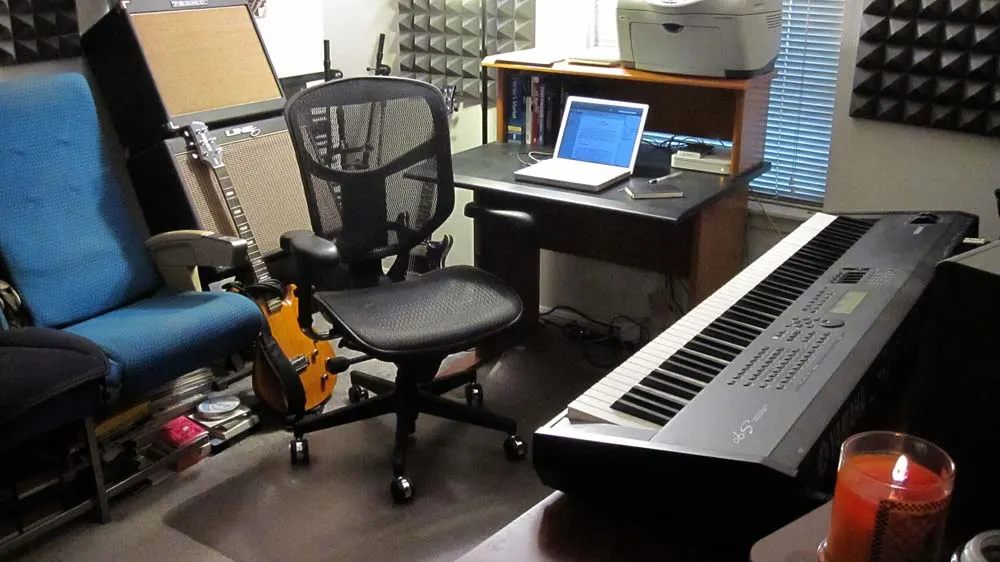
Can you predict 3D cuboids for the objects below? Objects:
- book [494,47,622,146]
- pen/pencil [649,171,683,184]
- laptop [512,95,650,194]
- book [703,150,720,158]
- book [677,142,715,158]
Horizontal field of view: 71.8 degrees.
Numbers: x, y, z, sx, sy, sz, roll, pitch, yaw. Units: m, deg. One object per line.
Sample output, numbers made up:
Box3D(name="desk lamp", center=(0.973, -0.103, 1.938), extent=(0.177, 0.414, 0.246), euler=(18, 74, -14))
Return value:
Box3D(name="book", center=(0.210, -0.964, 3.546), extent=(0.462, 0.267, 0.441), euler=(11, 25, 23))
Box3D(name="pen/pencil", center=(0.779, -0.484, 3.229), extent=(0.250, 0.025, 0.026), euler=(-14, 6, -26))
Box3D(name="laptop", center=(0.404, -0.642, 3.266), extent=(0.540, 0.343, 0.578), euler=(16, 33, 32))
Box3D(name="book", center=(1.023, -0.605, 3.304), extent=(0.044, 0.009, 0.040), euler=(-25, 32, -32))
Box3D(name="book", center=(0.945, -0.627, 3.327), extent=(0.110, 0.025, 0.120), euler=(13, 25, 39))
